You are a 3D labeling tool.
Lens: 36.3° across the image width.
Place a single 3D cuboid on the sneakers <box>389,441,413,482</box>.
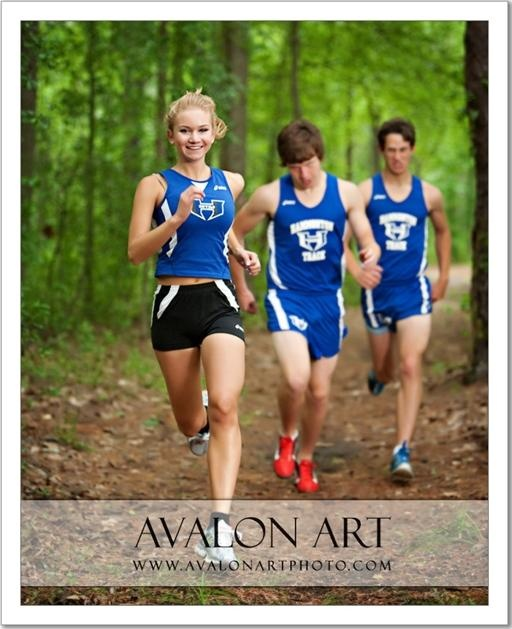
[{"bbox_3d":[0.972,1.007,5.318,0.125,0.149,0.356,0,-1,0],"label":"sneakers"}]
